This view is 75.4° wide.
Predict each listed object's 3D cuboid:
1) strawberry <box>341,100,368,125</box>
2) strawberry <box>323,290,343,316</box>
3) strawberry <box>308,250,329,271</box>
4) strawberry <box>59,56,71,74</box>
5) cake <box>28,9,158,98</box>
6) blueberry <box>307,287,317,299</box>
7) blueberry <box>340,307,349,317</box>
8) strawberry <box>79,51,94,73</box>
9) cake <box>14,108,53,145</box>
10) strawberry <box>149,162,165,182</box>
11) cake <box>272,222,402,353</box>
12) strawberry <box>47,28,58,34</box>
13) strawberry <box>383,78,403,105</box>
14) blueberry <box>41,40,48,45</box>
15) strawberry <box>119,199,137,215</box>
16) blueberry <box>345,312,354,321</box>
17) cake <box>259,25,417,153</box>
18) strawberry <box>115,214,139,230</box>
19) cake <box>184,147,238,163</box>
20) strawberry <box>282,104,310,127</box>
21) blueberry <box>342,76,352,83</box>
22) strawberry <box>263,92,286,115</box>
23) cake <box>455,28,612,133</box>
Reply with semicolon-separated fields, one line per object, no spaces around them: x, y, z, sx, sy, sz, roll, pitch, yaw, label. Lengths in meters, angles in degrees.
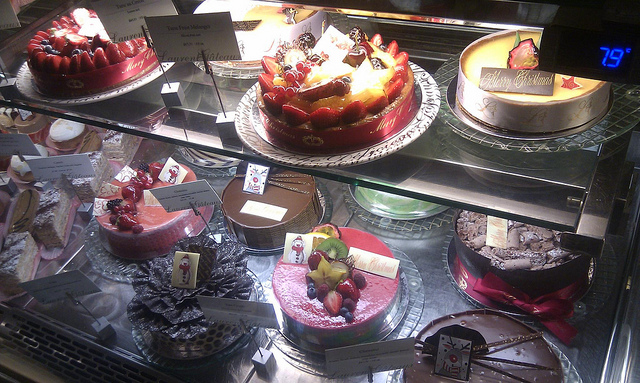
0.161;-0.426;2.283;0.203;0.110;0.176;-9;0;0;strawberry
0.090;0.736;2.751;0.114;0.136;0.084;-12;-17;19;strawberry
-0.029;0.459;2.902;0.134;0.145;0.126;-9;23;-6;strawberry
-1.685;-0.844;2.759;0.095;0.093;0.040;6;31;-16;strawberry
-1.678;-0.991;2.957;0.758;0.379;0.954;-28;44;-27;cake
-0.053;0.690;2.817;0.067;0.075;0.063;12;54;10;blueberry
0.154;0.785;2.738;0.058;0.052;0.065;-11;18;-5;blueberry
-1.545;-0.862;2.755;0.101;0.122;0.043;-3;4;-11;strawberry
-2.789;-0.657;4.036;0.424;0.224;0.277;26;47;32;cake
-1.401;-0.187;3.617;0.148;0.140;0.149;35;37;30;strawberry
0.141;0.645;3.075;0.990;0.490;0.966;-31;45;-30;cake
-2.025;-1.226;3.149;0.057;0.039;0.055;3;-4;-20;strawberry
0.406;-0.562;2.312;0.102;0.094;0.125;3;39;9;strawberry
-2.001;-1.093;3.024;0.054;0.031;0.017;-5;-3;20;blueberry
-1.551;0.117;3.396;0.121;0.113;0.106;-9;3;0;strawberry
0.194;0.814;2.708;0.043;0.041;0.055;7;11;20;blueberry
0.088;-0.613;2.399;0.922;0.456;0.734;5;39;11;cake
-1.513;0.232;3.286;0.202;0.098;0.099;3;40;8;strawberry
-0.829;-0.281;3.188;0.213;0.065;0.201;2;27;-22;cake
-0.132;-0.430;2.278;0.142;0.101;0.107;-8;39;-4;strawberry
0.151;-0.620;2.303;0.043;0.039;0.072;9;40;16;blueberry
-0.261;-0.504;2.355;0.158;0.086;0.083;23;46;30;strawberry
1.101;-0.609;2.266;0.600;0.360;0.728;-27;43;-26;cake
